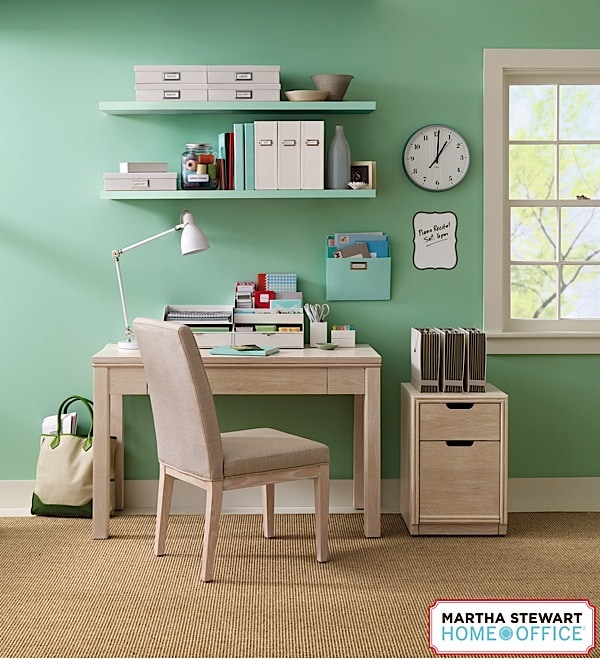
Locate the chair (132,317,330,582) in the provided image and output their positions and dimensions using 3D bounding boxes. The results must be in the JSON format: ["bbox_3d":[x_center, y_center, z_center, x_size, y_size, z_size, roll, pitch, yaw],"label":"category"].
[{"bbox_3d":[-0.252,0.419,2.493,0.589,0.842,0.424,0,1,-34],"label":"chair"}]

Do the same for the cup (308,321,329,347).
[{"bbox_3d":[0.080,0.018,3.013,0.101,0.137,0.099,0,5,0],"label":"cup"}]

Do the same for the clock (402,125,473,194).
[{"bbox_3d":[0.606,-0.772,3.037,0.306,0.294,0.048,0,2,2],"label":"clock"}]

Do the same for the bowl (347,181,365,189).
[{"bbox_3d":[0.240,-0.608,2.898,0.042,0.014,0.041,1,-2,0],"label":"bowl"}]

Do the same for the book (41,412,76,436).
[{"bbox_3d":[-1.080,0.419,3.034,0.152,0.091,0.176,-2,5,-18],"label":"book"}]

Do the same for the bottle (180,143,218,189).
[{"bbox_3d":[-0.423,-0.677,2.914,0.190,0.249,0.185,0,4,0],"label":"bottle"}]

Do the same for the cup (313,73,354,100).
[{"bbox_3d":[0.142,-1.035,2.944,0.130,0.077,0.123,-1,-1,0],"label":"cup"}]

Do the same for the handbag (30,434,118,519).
[{"bbox_3d":[-0.957,0.626,2.891,0.398,0.402,0.157,0,-11,5],"label":"handbag"}]
